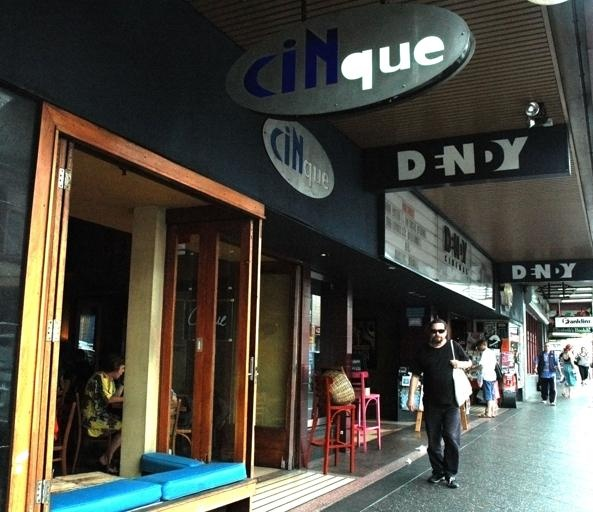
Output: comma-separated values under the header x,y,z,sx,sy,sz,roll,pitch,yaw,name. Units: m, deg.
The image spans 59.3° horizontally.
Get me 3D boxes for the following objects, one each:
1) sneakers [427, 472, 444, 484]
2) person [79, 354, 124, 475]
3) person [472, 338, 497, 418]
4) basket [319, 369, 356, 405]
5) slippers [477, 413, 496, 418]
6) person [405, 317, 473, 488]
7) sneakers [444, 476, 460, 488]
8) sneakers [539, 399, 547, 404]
x,y,z,sx,sy,sz,roll,pitch,yaw,name
1.476,2.392,5.631,0.072,0.099,0.211,-8,-26,35,sneakers
-2.259,1.803,6.030,0.429,1.301,2.040,3,-11,-18,person
4.345,2.773,11.949,0.407,1.724,2.716,-3,-11,19,person
0.504,1.643,6.528,0.427,0.414,0.296,2,-10,-12,basket
4.212,3.561,11.645,0.360,0.113,0.151,2,-12,27,slippers
1.591,1.597,5.853,0.470,1.731,0.628,7,-12,-37,person
1.617,2.345,5.415,0.058,0.080,0.189,7,-24,0,sneakers
7.565,4.425,15.964,0.215,0.083,0.164,3,-5,-34,sneakers
